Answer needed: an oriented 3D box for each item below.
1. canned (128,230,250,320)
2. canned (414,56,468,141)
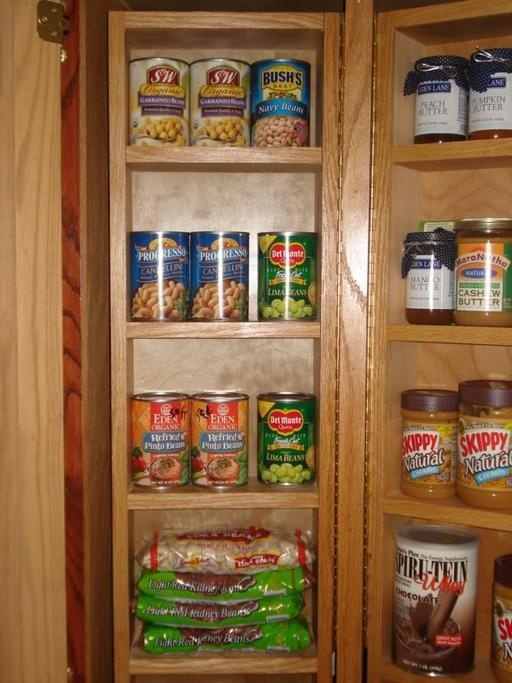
[{"bbox_3d":[-0.120,-0.119,1.142,0.261,0.182,0.154,-1,7,-1],"label":"canned"},{"bbox_3d":[0.326,-0.424,1.105,0.093,0.147,0.050,-2,2,15],"label":"canned"}]
